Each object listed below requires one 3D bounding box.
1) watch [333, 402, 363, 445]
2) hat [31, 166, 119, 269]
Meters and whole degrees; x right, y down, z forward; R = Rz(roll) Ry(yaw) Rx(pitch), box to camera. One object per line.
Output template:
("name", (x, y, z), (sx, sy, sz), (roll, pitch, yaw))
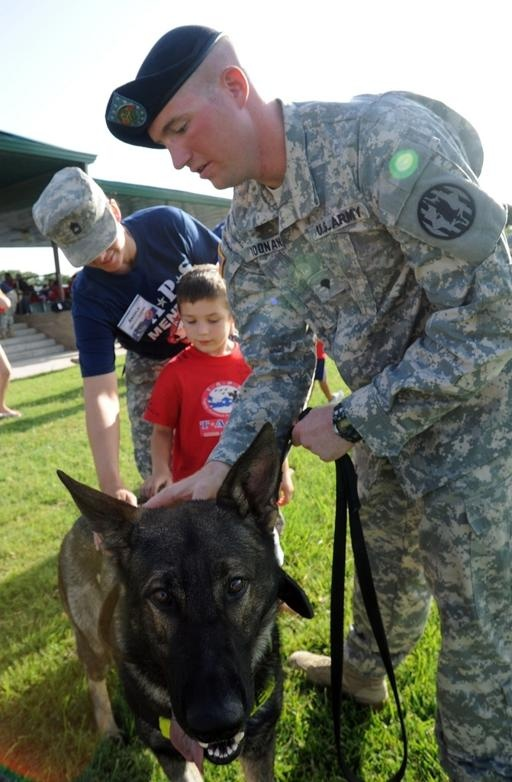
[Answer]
("watch", (0.284, 0.117, 2.010), (0.116, 0.116, 0.116), (2, 25, 7))
("hat", (-0.879, -0.878, 3.154), (0.391, 0.535, 0.444), (-10, 10, -25))
